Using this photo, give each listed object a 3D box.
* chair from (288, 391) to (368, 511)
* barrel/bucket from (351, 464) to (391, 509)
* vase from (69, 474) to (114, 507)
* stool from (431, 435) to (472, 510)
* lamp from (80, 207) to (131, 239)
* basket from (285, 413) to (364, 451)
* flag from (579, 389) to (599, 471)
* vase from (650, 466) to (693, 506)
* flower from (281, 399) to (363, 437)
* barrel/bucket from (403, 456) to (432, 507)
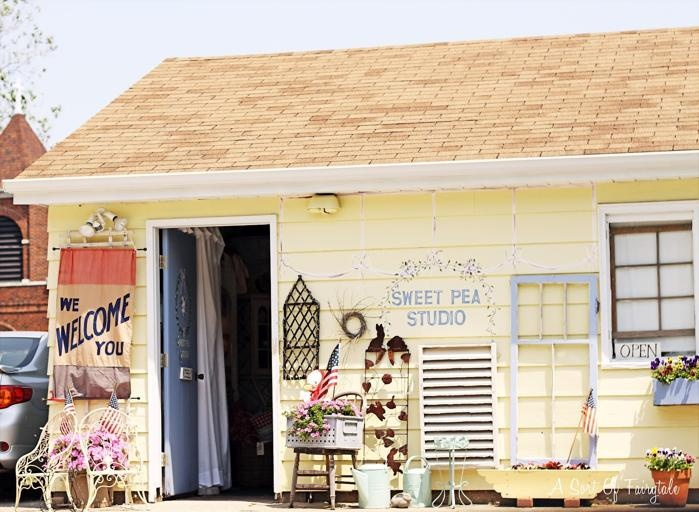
[{"bbox_3d":[-0.283,2.838,26.891,1.183,1.608,1.019,1,-5,12],"label":"chair"},{"bbox_3d":[0.333,3.337,26.578,0.640,0.573,0.540,7,-3,9],"label":"barrel/bucket"},{"bbox_3d":[-3.813,3.481,26.893,0.698,0.633,0.495,0,-9,-6],"label":"vase"},{"bbox_3d":[1.544,3.116,26.557,0.591,0.962,0.472,1,-6,2],"label":"stool"},{"bbox_3d":[-3.688,-0.492,27.445,0.712,0.427,0.217,2,-9,-8],"label":"lamp"},{"bbox_3d":[-0.255,2.586,26.879,1.094,0.525,1.052,-3,-6,15],"label":"basket"},{"bbox_3d":[3.510,2.485,26.531,0.292,1.107,0.207,0,-9,7],"label":"flag"},{"bbox_3d":[4.693,3.302,26.235,0.599,0.421,0.556,-1,-4,9],"label":"vase"},{"bbox_3d":[-0.377,2.374,26.476,0.956,0.555,0.219,0,-9,0],"label":"flower"},{"bbox_3d":[1.015,3.277,26.581,0.408,0.732,0.207,1,-9,-1],"label":"barrel/bucket"}]
